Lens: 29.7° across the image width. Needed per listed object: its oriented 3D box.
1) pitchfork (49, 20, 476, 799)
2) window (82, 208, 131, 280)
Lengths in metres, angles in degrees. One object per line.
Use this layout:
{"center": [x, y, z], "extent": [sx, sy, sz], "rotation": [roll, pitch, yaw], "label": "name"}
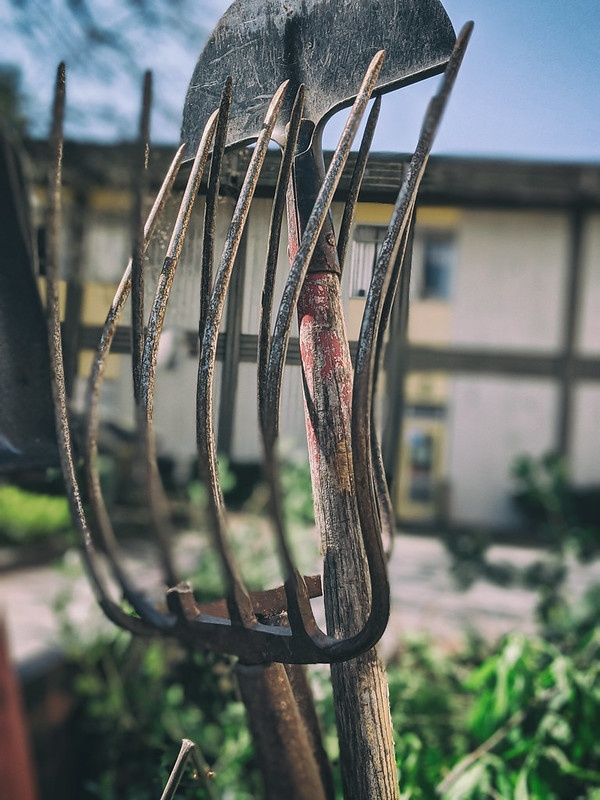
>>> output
{"center": [-0.108, 0.092, 2.763], "extent": [0.708, 2.519, 0.237], "rotation": [-7, -9, 27], "label": "pitchfork"}
{"center": [-0.675, -0.546, 3.987], "extent": [0.150, 0.301, 0.029], "rotation": [3, -20, -16], "label": "window"}
